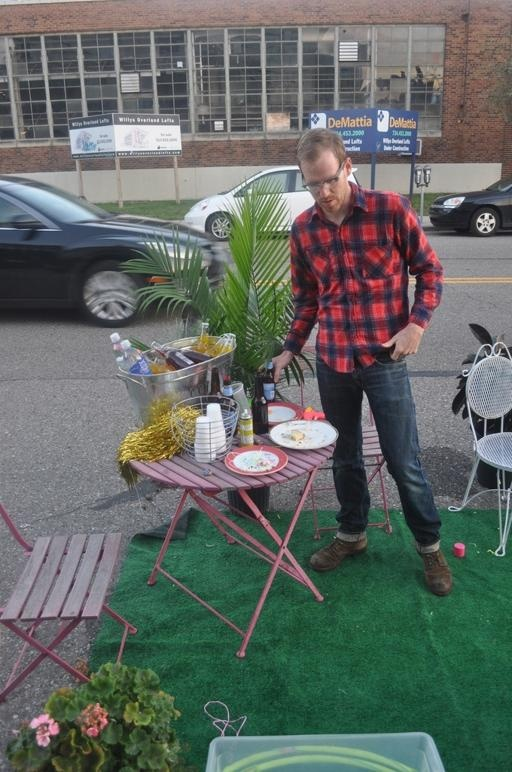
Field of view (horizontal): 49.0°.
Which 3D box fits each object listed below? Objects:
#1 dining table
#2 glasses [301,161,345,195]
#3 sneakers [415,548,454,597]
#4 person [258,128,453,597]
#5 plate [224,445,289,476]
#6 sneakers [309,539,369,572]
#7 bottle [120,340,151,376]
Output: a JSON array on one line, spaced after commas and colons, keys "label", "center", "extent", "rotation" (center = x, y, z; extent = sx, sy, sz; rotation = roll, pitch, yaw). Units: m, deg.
[{"label": "dining table", "center": [-0.046, 0.570, 2.590], "extent": [0.826, 0.686, 0.948], "rotation": [22, 27, 38]}, {"label": "glasses", "center": [0.247, -0.798, 2.092], "extent": [0.128, 0.121, 0.146], "rotation": [-4, 55, 22]}, {"label": "sneakers", "center": [0.812, 0.843, 2.589], "extent": [0.096, 0.096, 0.267], "rotation": [-10, 24, 3]}, {"label": "person", "center": [0.480, -0.049, 2.503], "extent": [0.859, 2.020, 0.508], "rotation": [4, 25, 21]}, {"label": "plate", "center": [-0.003, 0.294, 2.226], "extent": [0.241, 0.029, 0.254], "rotation": [-9, 23, -14]}, {"label": "sneakers", "center": [0.393, 0.829, 2.850], "extent": [0.332, 0.142, 0.116], "rotation": [-13, 21, -29]}, {"label": "bottle", "center": [-0.533, -0.112, 2.497], "extent": [0.112, 0.149, 0.276], "rotation": [-10, 23, -13]}]
